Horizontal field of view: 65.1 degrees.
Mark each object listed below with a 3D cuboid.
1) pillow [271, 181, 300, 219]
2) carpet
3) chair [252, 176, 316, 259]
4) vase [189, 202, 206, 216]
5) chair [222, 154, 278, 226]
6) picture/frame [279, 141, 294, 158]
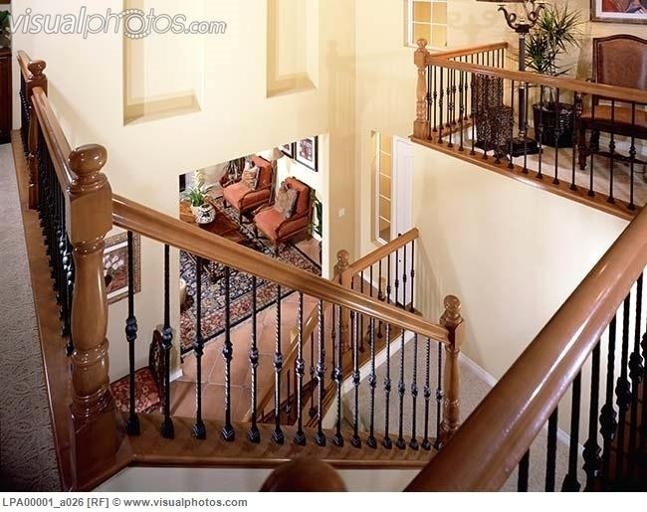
[{"bbox_3d":[-0.785,-1.175,10.778,0.191,0.669,0.686,1,31,-32],"label":"pillow"},{"bbox_3d":[-1.596,0.527,9.575,2.060,0.035,2.452,-17,40,-31],"label":"carpet"},{"bbox_3d":[-0.897,-0.937,10.982,0.976,1.352,0.921,-22,41,-37],"label":"chair"},{"bbox_3d":[-2.923,-1.067,11.645,0.239,0.333,0.336,-1,4,-16],"label":"vase"},{"bbox_3d":[-1.791,-1.653,11.918,1.017,1.307,1.068,-8,32,-28],"label":"chair"},{"bbox_3d":[-0.763,-2.185,10.420,0.238,0.502,0.269,-7,18,-25],"label":"picture/frame"}]
